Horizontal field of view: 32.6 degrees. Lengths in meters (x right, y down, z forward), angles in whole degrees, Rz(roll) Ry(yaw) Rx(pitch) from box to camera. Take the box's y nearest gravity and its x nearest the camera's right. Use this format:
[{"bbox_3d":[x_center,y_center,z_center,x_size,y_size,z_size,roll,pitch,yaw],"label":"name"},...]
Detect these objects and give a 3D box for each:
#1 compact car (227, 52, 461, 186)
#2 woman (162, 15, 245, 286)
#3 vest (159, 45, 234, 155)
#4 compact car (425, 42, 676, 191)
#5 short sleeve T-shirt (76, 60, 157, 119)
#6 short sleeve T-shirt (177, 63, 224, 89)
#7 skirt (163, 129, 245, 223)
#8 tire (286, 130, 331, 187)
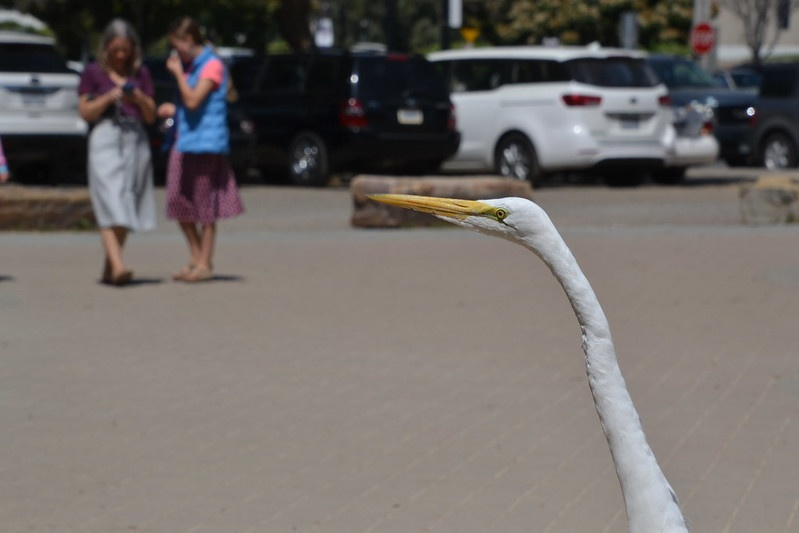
[{"bbox_3d":[-0.262,-0.836,7.592,0.585,0.505,1.328,-2,9,-25],"label":"compact car"},{"bbox_3d":[-1.176,-0.685,8.221,0.474,1.537,0.529,3,4,43],"label":"woman"},{"bbox_3d":[-1.202,-0.982,8.241,0.333,0.681,0.527,-4,3,-26],"label":"vest"},{"bbox_3d":[1.239,-1.058,9.436,1.007,0.908,2.322,-3,10,-24],"label":"compact car"},{"bbox_3d":[-1.569,-1.004,7.404,0.351,0.228,0.112,-4,29,-12],"label":"short sleeve T-shirt"},{"bbox_3d":[-1.159,-1.110,7.945,0.182,0.182,0.144,13,5,25],"label":"short sleeve T-shirt"},{"bbox_3d":[-1.202,-0.514,8.256,0.501,0.565,0.385,0,-8,-26],"label":"skirt"},{"bbox_3d":[-0.680,-0.748,9.889,0.335,0.369,0.124,-19,-10,20],"label":"tire"}]
